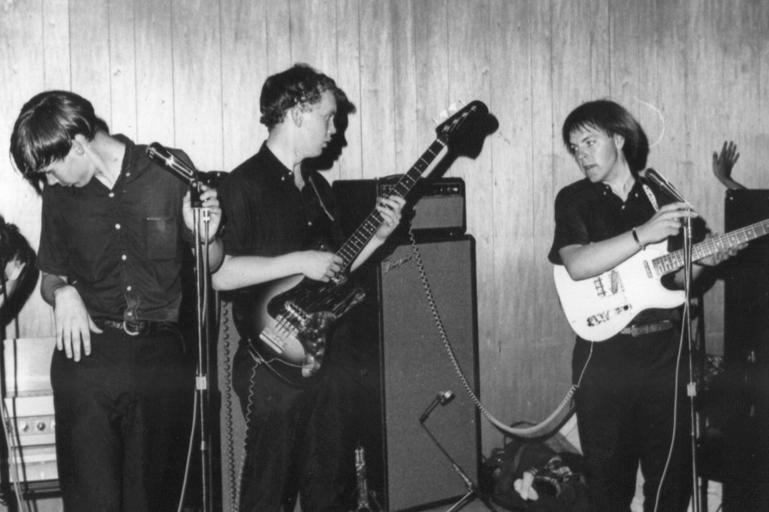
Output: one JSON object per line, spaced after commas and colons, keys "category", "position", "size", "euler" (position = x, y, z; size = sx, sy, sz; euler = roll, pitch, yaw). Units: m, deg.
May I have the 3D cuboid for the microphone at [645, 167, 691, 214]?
{"category": "microphone", "position": [1.427, -0.327, 4.224], "size": [0.068, 0.259, 0.061], "euler": [-45, 10, 50]}

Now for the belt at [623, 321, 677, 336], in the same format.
{"category": "belt", "position": [1.318, 0.356, 4.174], "size": [0.277, 0.066, 0.051], "euler": [-4, 2, 2]}

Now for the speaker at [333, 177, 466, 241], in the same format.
{"category": "speaker", "position": [0.087, -0.231, 4.123], "size": [0.604, 0.399, 0.343], "euler": [-8, 6, -44]}

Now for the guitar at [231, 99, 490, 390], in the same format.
{"category": "guitar", "position": [0.012, -0.203, 4.030], "size": [1.910, 0.566, 0.181], "euler": [-49, 19, -12]}

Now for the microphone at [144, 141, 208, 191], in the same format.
{"category": "microphone", "position": [-0.957, -0.400, 3.774], "size": [0.078, 0.250, 0.075], "euler": [-37, 18, 39]}

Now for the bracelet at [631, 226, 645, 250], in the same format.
{"category": "bracelet", "position": [1.265, -0.091, 4.175], "size": [0.018, 0.080, 0.078], "euler": [-24, -18, 8]}
